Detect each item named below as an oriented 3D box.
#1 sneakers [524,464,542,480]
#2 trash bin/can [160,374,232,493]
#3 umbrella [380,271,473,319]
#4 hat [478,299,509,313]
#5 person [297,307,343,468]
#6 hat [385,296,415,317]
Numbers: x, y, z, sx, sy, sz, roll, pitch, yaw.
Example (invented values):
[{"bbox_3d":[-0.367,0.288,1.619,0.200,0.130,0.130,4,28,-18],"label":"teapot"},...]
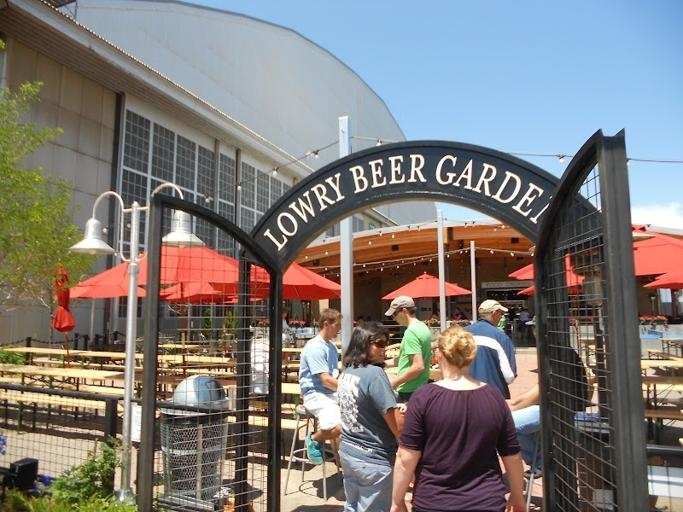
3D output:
[{"bbox_3d":[1.818,2.038,5.443,0.181,0.103,0.262,0,-7,22],"label":"sneakers"},{"bbox_3d":[-1.333,1.638,5.160,0.604,1.119,0.521,2,-14,-18],"label":"trash bin/can"},{"bbox_3d":[2.426,0.962,16.185,2.025,0.752,2.078,-1,-5,9],"label":"umbrella"},{"bbox_3d":[1.660,0.549,6.231,0.299,0.128,0.201,1,-1,-35],"label":"hat"},{"bbox_3d":[-0.209,1.283,5.722,0.430,1.566,0.932,-1,-13,-5],"label":"person"},{"bbox_3d":[0.631,0.545,6.210,0.292,0.163,0.204,-3,-8,7],"label":"hat"}]
